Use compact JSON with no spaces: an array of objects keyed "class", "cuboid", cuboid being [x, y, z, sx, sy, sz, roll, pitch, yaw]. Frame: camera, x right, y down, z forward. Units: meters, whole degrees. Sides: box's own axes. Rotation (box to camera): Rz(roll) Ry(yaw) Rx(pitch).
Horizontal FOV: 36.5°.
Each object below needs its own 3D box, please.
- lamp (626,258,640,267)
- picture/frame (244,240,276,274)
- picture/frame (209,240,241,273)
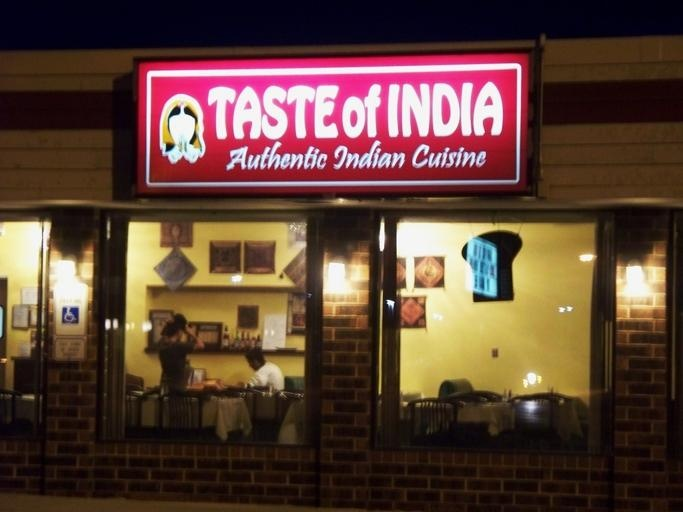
[{"class":"lamp","cuboid":[3.343,0.078,11.848,0.156,0.083,0.032,-1,-8,15]},{"class":"picture/frame","cuboid":[-0.960,0.002,12.234,0.336,0.386,0.041,0,2,3]},{"class":"picture/frame","cuboid":[-1.374,0.003,12.272,0.330,0.381,0.027,1,1,0]}]
